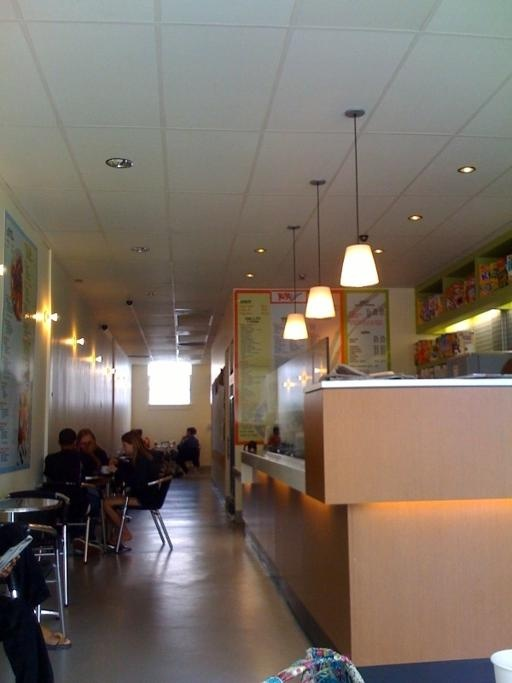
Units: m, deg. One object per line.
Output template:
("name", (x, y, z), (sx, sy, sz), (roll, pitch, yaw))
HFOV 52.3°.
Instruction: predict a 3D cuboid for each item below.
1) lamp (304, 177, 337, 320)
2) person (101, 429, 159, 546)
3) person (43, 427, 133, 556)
("lamp", (0.523, -0.769, 4.343), (0.280, 1.151, 0.270), (0, 2, 40))
("person", (-1.416, 1.662, 5.888), (0.588, 1.297, 0.519), (6, -2, -20))
("person", (-1.898, 1.607, 5.744), (0.833, 1.319, 2.184), (3, -13, -20))
